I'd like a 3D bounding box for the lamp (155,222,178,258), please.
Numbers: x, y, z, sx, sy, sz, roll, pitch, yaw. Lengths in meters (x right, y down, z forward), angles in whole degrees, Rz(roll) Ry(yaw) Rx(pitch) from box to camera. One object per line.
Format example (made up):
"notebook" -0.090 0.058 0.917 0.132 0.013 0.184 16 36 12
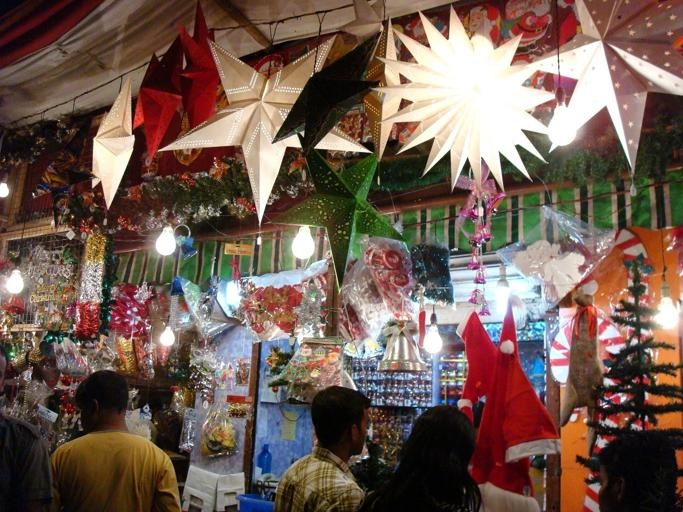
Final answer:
"lamp" -1.587 -0.168 4.959 0.135 0.321 0.321 5 -13 -13

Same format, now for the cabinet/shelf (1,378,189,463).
"cabinet/shelf" -1.453 1.054 3.397 0.821 0.813 0.488 4 -15 -14

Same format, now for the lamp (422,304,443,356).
"lamp" 0.718 0.582 4.340 0.131 0.380 0.448 0 -14 10

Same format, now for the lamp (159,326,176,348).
"lamp" -1.890 0.866 5.918 0.132 0.203 0.262 6 -14 -16

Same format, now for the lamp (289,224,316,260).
"lamp" -0.304 -0.137 4.262 0.146 0.265 0.341 2 -13 -2
